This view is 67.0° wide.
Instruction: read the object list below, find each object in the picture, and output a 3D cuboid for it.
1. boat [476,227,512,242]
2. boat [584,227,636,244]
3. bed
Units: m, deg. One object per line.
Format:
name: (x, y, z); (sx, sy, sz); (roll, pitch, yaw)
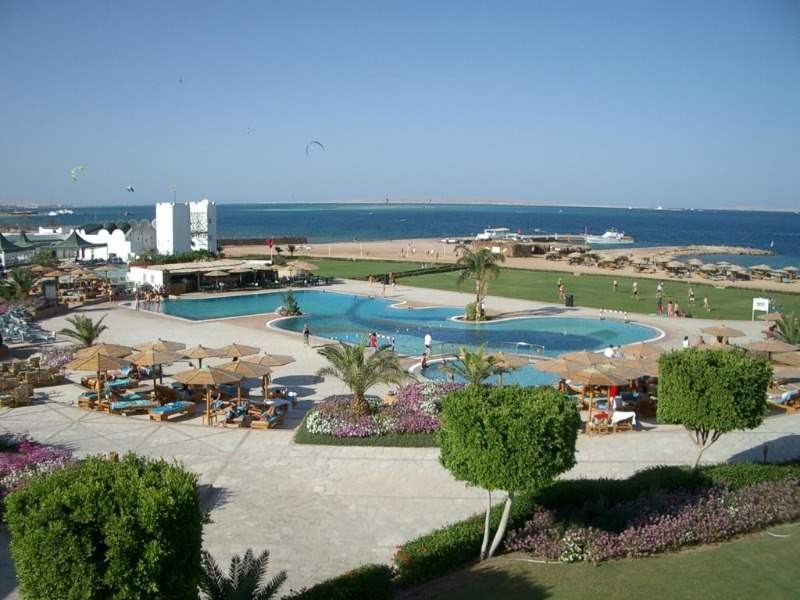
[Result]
boat: (20.796, -14.371, 131.722); (5.002, 1.967, 25.602); (-2, 7, 14)
boat: (46.637, -13.609, 134.310); (8.308, 2.677, 15.030); (-1, 7, 24)
bed: (-8.132, 3.671, 23.720); (7.686, 2.073, 2.824); (-2, 7, 15)
